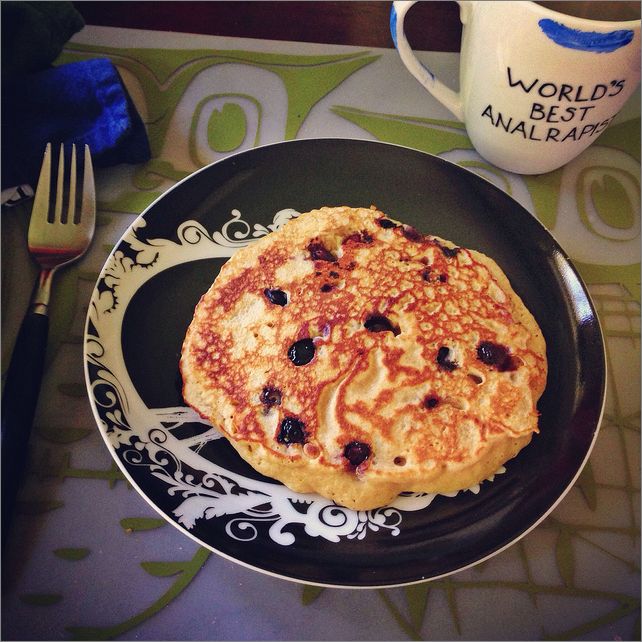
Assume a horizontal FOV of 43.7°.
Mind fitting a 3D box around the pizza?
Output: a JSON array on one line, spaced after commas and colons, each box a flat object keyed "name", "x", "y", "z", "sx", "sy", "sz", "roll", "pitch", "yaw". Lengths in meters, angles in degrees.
[{"name": "pizza", "x": 0.113, "y": 0.080, "z": 1.821, "sx": 0.806, "sy": 0.194, "sz": 0.678, "roll": 23, "pitch": 81, "yaw": 6}]
